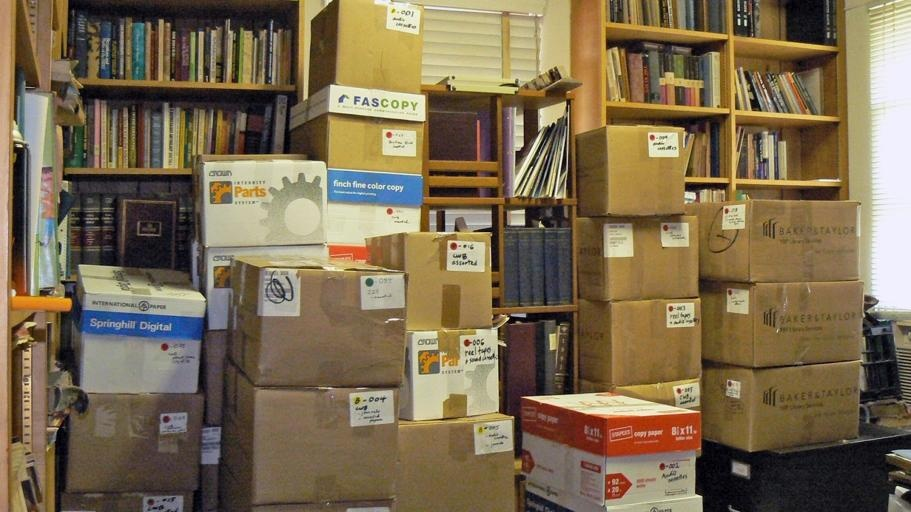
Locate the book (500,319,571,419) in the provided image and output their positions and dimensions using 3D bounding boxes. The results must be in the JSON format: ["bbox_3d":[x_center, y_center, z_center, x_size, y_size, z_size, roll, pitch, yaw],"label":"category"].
[{"bbox_3d":[0.374,0.626,5.577,0.504,0.647,0.504,0,1,0],"label":"book"}]

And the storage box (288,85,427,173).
[{"bbox_3d":[-0.658,-0.703,5.433,0.936,0.386,0.893,2,1,-12],"label":"storage box"}]

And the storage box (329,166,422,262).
[{"bbox_3d":[-0.447,-0.243,5.183,0.506,0.461,0.368,-2,11,-17],"label":"storage box"}]

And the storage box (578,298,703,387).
[{"bbox_3d":[1.053,0.463,5.524,0.725,0.451,0.395,-3,0,-36],"label":"storage box"}]

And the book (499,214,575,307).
[{"bbox_3d":[0.438,0.028,5.660,0.430,0.505,0.545,1,0,-2],"label":"book"}]

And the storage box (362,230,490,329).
[{"bbox_3d":[0.048,0.082,5.359,0.475,0.505,0.835,0,6,11],"label":"storage box"}]

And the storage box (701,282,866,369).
[{"bbox_3d":[1.782,0.362,5.256,0.714,0.345,0.507,0,-1,-14],"label":"storage box"}]

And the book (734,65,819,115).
[{"bbox_3d":[2.176,-1.107,6.647,0.430,0.137,0.433,0,1,-23],"label":"book"}]

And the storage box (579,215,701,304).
[{"bbox_3d":[1.006,0.027,5.510,0.700,0.445,0.376,-1,-4,-31],"label":"storage box"}]

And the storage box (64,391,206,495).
[{"bbox_3d":[-1.597,0.890,4.828,0.556,0.376,0.529,1,-1,-5],"label":"storage box"}]

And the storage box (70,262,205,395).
[{"bbox_3d":[-1.563,0.355,4.793,0.680,0.599,0.477,-1,7,-21],"label":"storage box"}]

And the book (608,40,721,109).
[{"bbox_3d":[1.377,-1.163,6.368,0.804,0.379,0.158,-3,2,-22],"label":"book"}]

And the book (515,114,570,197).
[{"bbox_3d":[0.508,-0.558,5.530,0.158,0.440,0.346,8,-4,-6],"label":"book"}]

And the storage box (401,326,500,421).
[{"bbox_3d":[-0.057,0.569,5.053,0.569,0.702,0.399,0,-7,-14],"label":"storage box"}]

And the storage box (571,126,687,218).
[{"bbox_3d":[0.965,-0.463,5.354,0.603,0.492,0.224,-2,2,5],"label":"storage box"}]

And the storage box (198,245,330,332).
[{"bbox_3d":[-0.876,0.133,5.055,0.628,0.344,0.610,2,-1,37],"label":"storage box"}]

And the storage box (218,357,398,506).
[{"bbox_3d":[-0.658,0.775,4.447,0.704,0.418,0.657,1,-2,-11],"label":"storage box"}]

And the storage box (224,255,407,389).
[{"bbox_3d":[-0.845,0.366,4.729,0.981,0.572,0.948,-8,-12,32],"label":"storage box"}]

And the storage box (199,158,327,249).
[{"bbox_3d":[-0.969,-0.284,5.107,0.680,0.435,0.353,0,6,1],"label":"storage box"}]

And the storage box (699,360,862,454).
[{"bbox_3d":[1.794,0.808,5.569,0.884,0.412,0.641,-1,1,-26],"label":"storage box"}]

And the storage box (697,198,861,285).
[{"bbox_3d":[1.785,-0.083,5.353,0.592,0.293,0.561,0,1,-23],"label":"storage box"}]
